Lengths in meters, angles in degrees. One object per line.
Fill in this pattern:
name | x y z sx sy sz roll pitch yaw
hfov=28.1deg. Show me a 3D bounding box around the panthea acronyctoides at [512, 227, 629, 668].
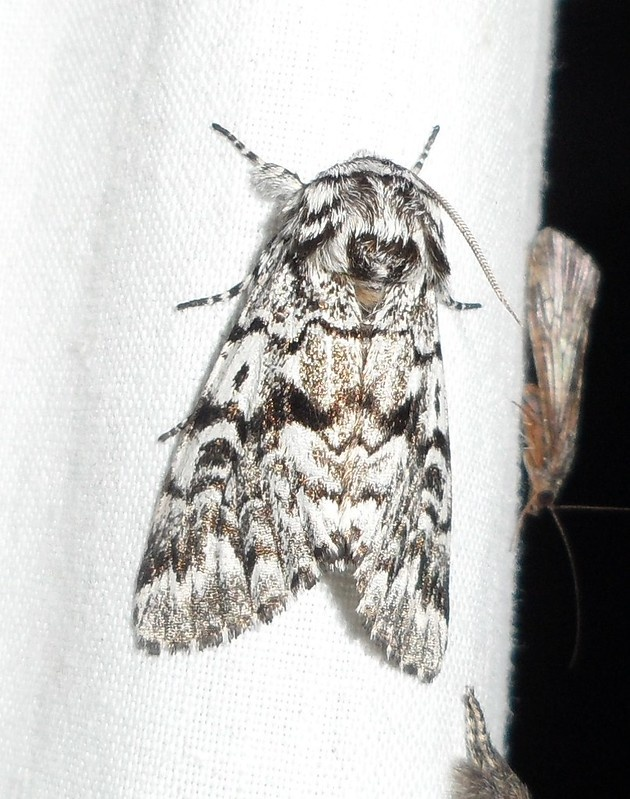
panthea acronyctoides | 0.317 0.034 1.580 0.177 0.536 0.076 0 4 -29
